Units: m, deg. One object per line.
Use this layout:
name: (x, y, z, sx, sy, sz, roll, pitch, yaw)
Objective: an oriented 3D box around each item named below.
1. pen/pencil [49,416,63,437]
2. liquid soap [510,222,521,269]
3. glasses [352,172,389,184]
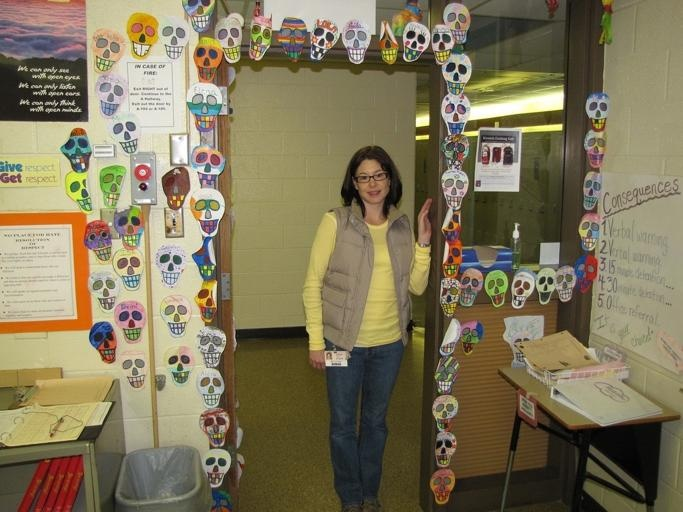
pen/pencil: (-1.170, 0.702, 2.180, 0.021, 0.029, 0.082, 14, 19, -1)
liquid soap: (0.947, -0.051, 2.877, 0.060, 0.248, 0.035, -6, 13, -25)
glasses: (0.145, -0.391, 2.663, 0.168, 0.061, 0.067, 0, 13, 1)
